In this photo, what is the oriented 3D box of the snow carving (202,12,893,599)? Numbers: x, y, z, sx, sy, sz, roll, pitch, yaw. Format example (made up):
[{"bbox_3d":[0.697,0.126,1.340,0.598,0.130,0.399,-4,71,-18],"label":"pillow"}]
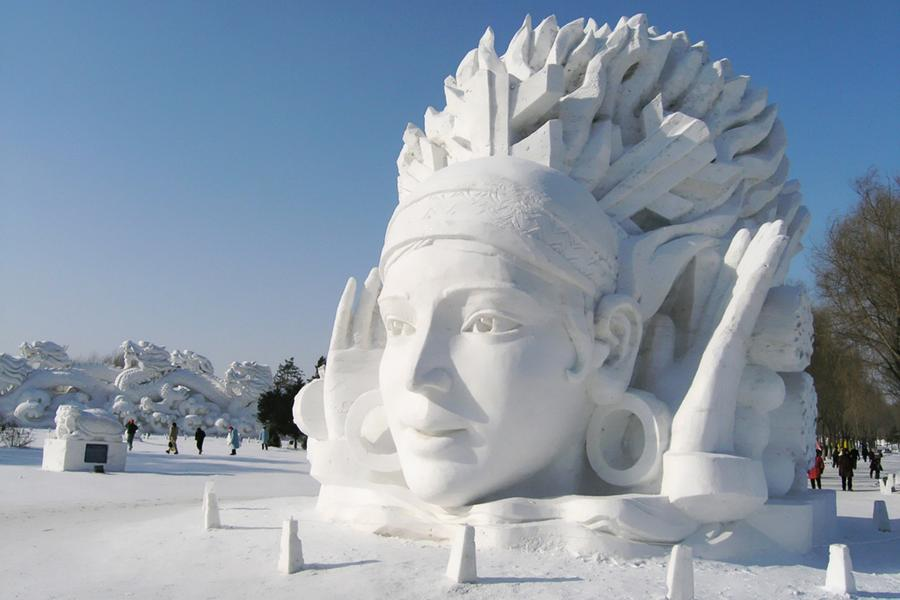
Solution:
[{"bbox_3d":[1.845,0.762,10.831,9.059,9.101,4.901,-2,-10,21],"label":"snow carving"}]

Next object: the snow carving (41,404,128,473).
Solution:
[{"bbox_3d":[-9.535,3.778,18.689,1.901,1.985,1.786,4,-6,-22],"label":"snow carving"}]
